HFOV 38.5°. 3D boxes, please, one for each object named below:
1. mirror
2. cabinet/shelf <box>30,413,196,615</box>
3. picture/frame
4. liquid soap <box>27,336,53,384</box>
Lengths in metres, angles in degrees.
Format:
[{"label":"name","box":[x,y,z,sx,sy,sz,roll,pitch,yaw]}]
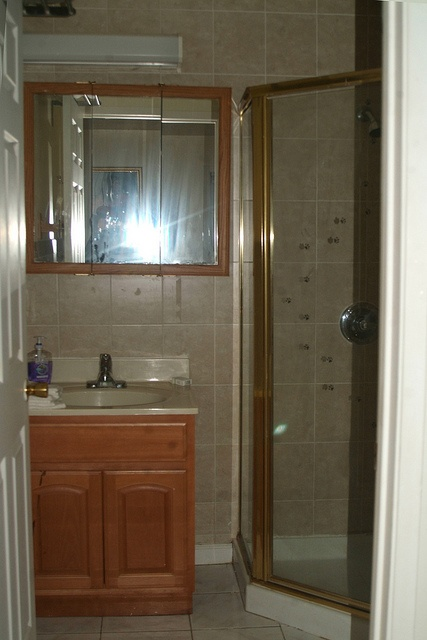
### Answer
[{"label":"mirror","box":[-0.378,-0.594,2.445,0.785,0.810,0.040,1,4,-8]},{"label":"cabinet/shelf","box":[-0.365,0.689,2.270,0.607,0.738,0.361,-1,-1,4]},{"label":"picture/frame","box":[-0.392,-0.418,2.482,0.204,0.448,0.014,-4,44,-14]},{"label":"liquid soap","box":[-0.653,0.145,2.295,0.094,0.202,0.047,-3,28,-19]}]
